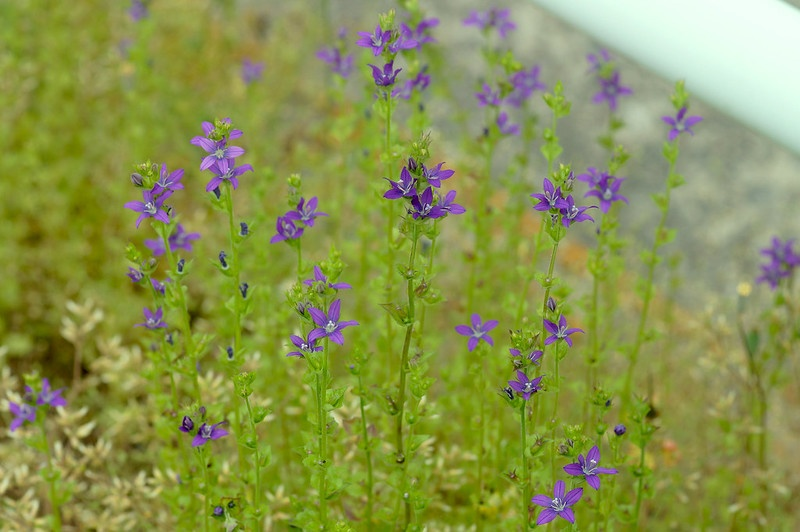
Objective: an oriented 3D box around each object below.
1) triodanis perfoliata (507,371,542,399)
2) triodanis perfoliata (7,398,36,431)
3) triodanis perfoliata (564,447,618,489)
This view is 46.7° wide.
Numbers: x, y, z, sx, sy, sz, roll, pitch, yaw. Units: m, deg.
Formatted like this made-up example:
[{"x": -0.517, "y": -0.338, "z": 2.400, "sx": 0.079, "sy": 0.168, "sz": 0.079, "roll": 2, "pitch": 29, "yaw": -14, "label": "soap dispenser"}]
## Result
[{"x": 0.489, "y": 0.465, "z": 3.615, "sx": 0.044, "sy": 0.097, "sz": 0.121, "roll": 97, "pitch": -24, "yaw": -80, "label": "triodanis perfoliata"}, {"x": -1.525, "y": 0.595, "z": 3.728, "sx": 0.123, "sy": 0.052, "sz": 0.134, "roll": 60, "pitch": 10, "yaw": -86, "label": "triodanis perfoliata"}, {"x": 0.746, "y": 0.797, "z": 3.679, "sx": 0.180, "sy": 0.071, "sz": 0.161, "roll": 37, "pitch": -5, "yaw": 6, "label": "triodanis perfoliata"}]
